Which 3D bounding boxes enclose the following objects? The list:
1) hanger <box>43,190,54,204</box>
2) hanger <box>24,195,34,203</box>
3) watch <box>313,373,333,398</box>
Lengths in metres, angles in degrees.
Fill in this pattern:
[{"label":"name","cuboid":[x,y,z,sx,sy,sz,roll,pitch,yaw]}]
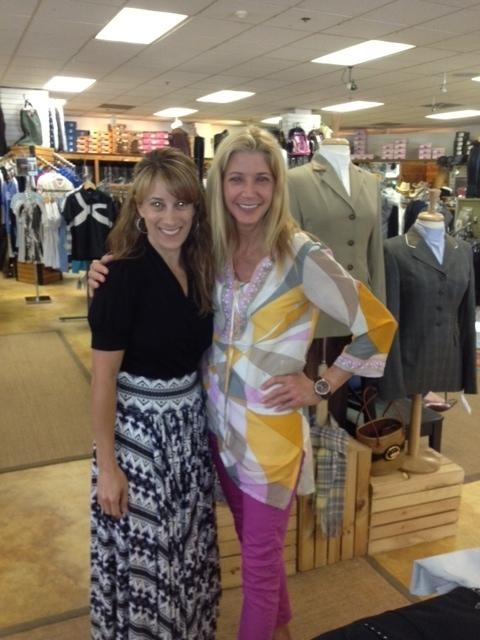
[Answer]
[{"label":"hanger","cuboid":[-2.904,-1.850,7.691,0.156,0.191,0.185,-6,13,-18]},{"label":"hanger","cuboid":[-3.208,-1.843,7.688,0.214,0.145,0.091,6,14,32]},{"label":"watch","cuboid":[0.208,0.172,1.322,0.036,0.054,0.054,-7,-17,4]}]
